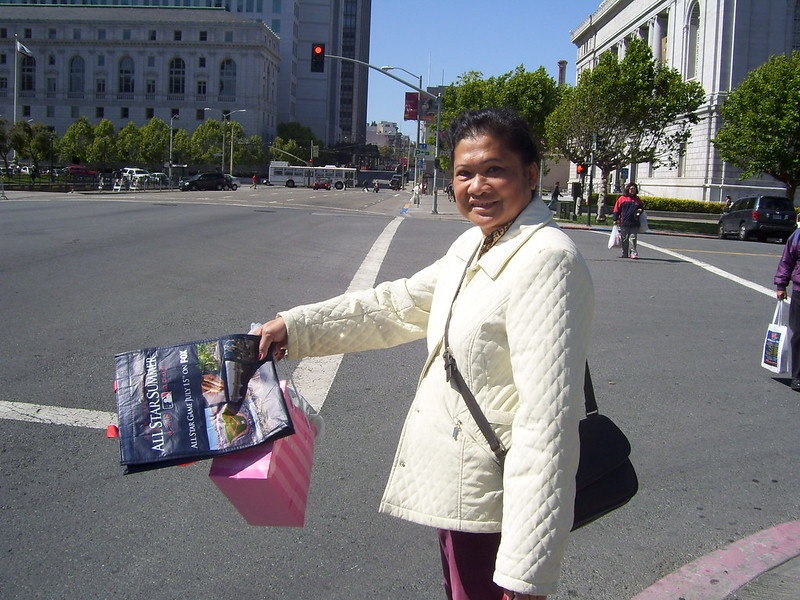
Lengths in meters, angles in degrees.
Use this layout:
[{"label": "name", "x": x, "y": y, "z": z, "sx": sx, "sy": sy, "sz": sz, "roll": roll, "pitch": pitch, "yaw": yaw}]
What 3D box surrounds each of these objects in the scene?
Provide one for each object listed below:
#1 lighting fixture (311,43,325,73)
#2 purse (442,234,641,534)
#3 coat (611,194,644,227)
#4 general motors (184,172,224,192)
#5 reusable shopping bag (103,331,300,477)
[{"label": "lighting fixture", "x": -3.986, "y": -11.853, "z": 29.266, "sx": 0.513, "sy": 1.246, "sz": 1.898, "roll": -1, "pitch": 14, "yaw": -11}, {"label": "purse", "x": 0.530, "y": 0.229, "z": 2.487, "sx": 0.495, "sy": 1.185, "sz": 0.715, "roll": -23, "pitch": 9, "yaw": 17}, {"label": "coat", "x": 6.783, "y": -2.647, "z": 17.843, "sx": 0.622, "sy": 0.902, "sz": 0.980, "roll": 0, "pitch": 14, "yaw": -6}, {"label": "general motors", "x": -19.627, "y": -12.401, "z": 61.490, "sx": 3.255, "sy": 1.825, "sz": 2.063, "roll": -1, "pitch": 6, "yaw": -25}, {"label": "reusable shopping bag", "x": -0.677, "y": 0.369, "z": 2.113, "sx": 0.542, "sy": 0.500, "sz": 0.187, "roll": -10, "pitch": -23, "yaw": -14}]
